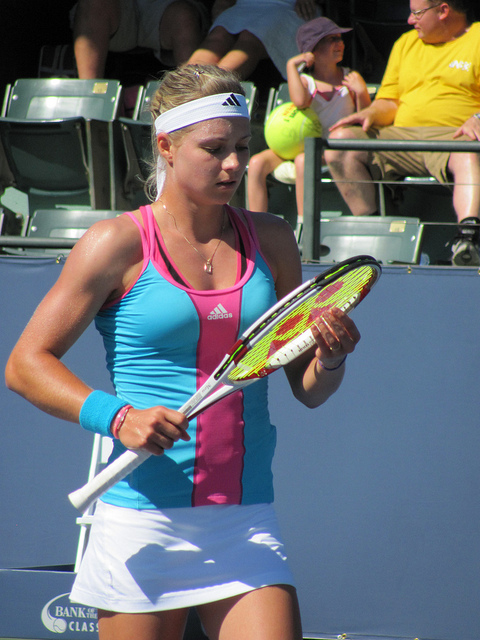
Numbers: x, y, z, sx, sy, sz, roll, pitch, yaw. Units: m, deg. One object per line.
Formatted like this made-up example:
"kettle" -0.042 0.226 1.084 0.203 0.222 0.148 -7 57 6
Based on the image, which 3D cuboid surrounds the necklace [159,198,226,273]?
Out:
"necklace" -0.132 -0.229 2.744 0.137 0.175 0.126 19 28 40
